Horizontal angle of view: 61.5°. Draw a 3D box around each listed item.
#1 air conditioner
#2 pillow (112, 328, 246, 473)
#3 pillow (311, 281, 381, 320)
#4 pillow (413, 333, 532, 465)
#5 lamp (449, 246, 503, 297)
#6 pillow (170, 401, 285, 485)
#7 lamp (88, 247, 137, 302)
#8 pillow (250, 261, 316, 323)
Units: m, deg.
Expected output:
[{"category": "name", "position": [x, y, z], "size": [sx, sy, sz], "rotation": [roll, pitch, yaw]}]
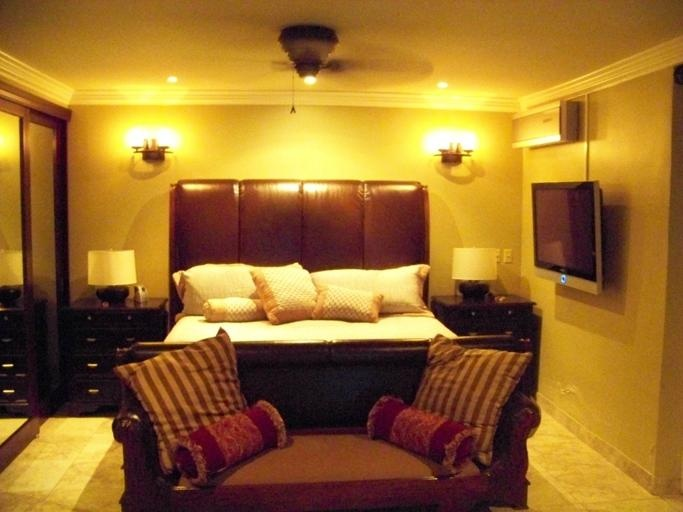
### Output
[{"category": "air conditioner", "position": [1.914, -1.230, 5.362], "size": [0.170, 0.426, 0.842], "rotation": [-3, 13, -14]}, {"category": "pillow", "position": [-0.986, 0.919, 3.566], "size": [0.719, 0.715, 0.217], "rotation": [-20, -13, -43]}, {"category": "pillow", "position": [0.054, 0.446, 5.127], "size": [0.488, 0.305, 0.146], "rotation": [7, -29, 4]}, {"category": "pillow", "position": [0.841, 0.878, 3.616], "size": [0.690, 0.681, 0.212], "rotation": [11, -20, 47]}, {"category": "lamp", "position": [1.379, 0.161, 5.758], "size": [0.470, 0.533, 0.472], "rotation": [0, -1, -3]}, {"category": "pillow", "position": [-0.650, 1.125, 3.455], "size": [0.673, 0.296, 0.243], "rotation": [-9, 16, -38]}, {"category": "lamp", "position": [-2.117, 0.177, 5.473], "size": [0.485, 0.562, 0.481], "rotation": [0, 0, 1]}, {"category": "pillow", "position": [-0.494, 0.343, 5.160], "size": [0.518, 0.396, 0.436], "rotation": [-6, 14, -27]}]
